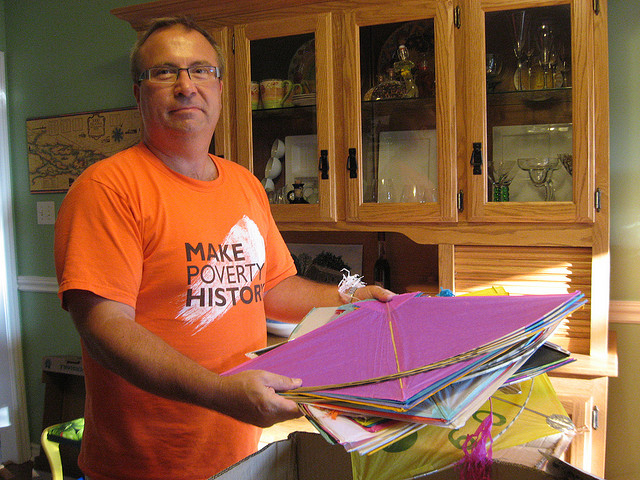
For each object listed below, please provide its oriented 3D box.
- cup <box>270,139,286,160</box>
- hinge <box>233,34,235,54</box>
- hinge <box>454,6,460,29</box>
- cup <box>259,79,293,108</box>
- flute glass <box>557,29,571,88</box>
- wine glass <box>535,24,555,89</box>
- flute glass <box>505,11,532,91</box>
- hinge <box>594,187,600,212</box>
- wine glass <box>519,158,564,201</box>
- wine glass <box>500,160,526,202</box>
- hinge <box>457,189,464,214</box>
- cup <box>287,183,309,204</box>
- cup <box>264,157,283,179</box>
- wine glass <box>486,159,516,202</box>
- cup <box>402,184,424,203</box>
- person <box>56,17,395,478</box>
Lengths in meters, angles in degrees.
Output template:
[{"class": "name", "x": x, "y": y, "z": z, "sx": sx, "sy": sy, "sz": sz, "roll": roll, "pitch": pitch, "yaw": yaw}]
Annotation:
[{"class": "cup", "x": -0.178, "y": -0.381, "z": 2.316, "sx": 0.044, "sy": 0.078, "sz": 0.076, "roll": 2, "pitch": 36, "yaw": -19}, {"class": "hinge", "x": -0.355, "y": -0.810, "z": 2.288, "sx": 0.004, "sy": 0.076, "sz": 0.019, "roll": -3, "pitch": 0, "yaw": -27}, {"class": "hinge", "x": 0.494, "y": -0.804, "z": 1.998, "sx": 0.018, "sy": 0.077, "sz": 0.009, "roll": -3, "pitch": 0, "yaw": 2}, {"class": "cup", "x": -0.192, "y": -0.617, "z": 2.311, "sx": 0.134, "sy": 0.114, "sz": 0.092, "roll": 7, "pitch": 13, "yaw": 30}, {"class": "flute glass", "x": 0.844, "y": -0.631, "z": 1.915, "sx": 0.043, "sy": 0.190, "sz": 0.018, "roll": -3, "pitch": 0, "yaw": 28}, {"class": "wine glass", "x": 0.792, "y": -0.645, "z": 1.946, "sx": 0.062, "sy": 0.215, "sz": 0.037, "roll": -3, "pitch": 0, "yaw": 27}, {"class": "flute glass", "x": 0.704, "y": -0.710, "z": 1.963, "sx": 0.085, "sy": 0.241, "sz": 0.047, "roll": -3, "pitch": 0, "yaw": 22}, {"class": "hinge", "x": 0.945, "y": -0.138, "z": 1.892, "sx": 0.019, "sy": 0.078, "sz": 0.013, "roll": -3, "pitch": 0, "yaw": 3}, {"class": "wine glass", "x": 0.773, "y": -0.189, "z": 1.962, "sx": 0.106, "sy": 0.244, "sz": 0.191, "roll": -1, "pitch": 1, "yaw": 9}, {"class": "wine glass", "x": 0.681, "y": -0.227, "z": 2.050, "sx": 0.100, "sy": 0.145, "sz": 0.115, "roll": 6, "pitch": 5, "yaw": -12}, {"class": "hinge", "x": 0.518, "y": -0.146, "z": 2.042, "sx": 0.024, "sy": 0.083, "sz": 0.009, "roll": -3, "pitch": 0, "yaw": -8}, {"class": "cup", "x": -0.097, "y": -0.188, "z": 2.273, "sx": 0.062, "sy": 0.095, "sz": 0.046, "roll": 3, "pitch": -6, "yaw": 9}, {"class": "cup", "x": -0.195, "y": -0.306, "z": 2.313, "sx": 0.048, "sy": 0.087, "sz": 0.081, "roll": 10, "pitch": -18, "yaw": -7}, {"class": "wine glass", "x": 0.650, "y": -0.228, "z": 2.066, "sx": 0.122, "sy": 0.161, "sz": 0.122, "roll": -2, "pitch": 3, "yaw": -29}, {"class": "cup", "x": 0.353, "y": -0.178, "z": 2.106, "sx": 0.062, "sy": 0.069, "sz": 0.066, "roll": -1, "pitch": 2, "yaw": 0}, {"class": "person", "x": -0.248, "y": 0.002, "z": 1.379, "sx": 0.736, "sy": 1.209, "sz": 0.668, "roll": -3, "pitch": 0, "yaw": -28}]
